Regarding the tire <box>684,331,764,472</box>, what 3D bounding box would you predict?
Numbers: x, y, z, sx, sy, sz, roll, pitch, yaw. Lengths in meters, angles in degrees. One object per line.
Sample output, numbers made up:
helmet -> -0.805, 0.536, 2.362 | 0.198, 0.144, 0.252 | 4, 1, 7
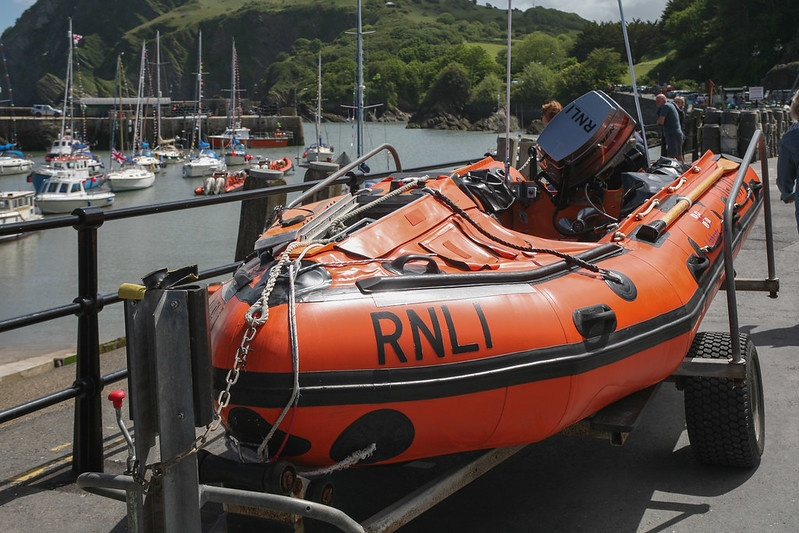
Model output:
tire -> 2.346, 0.970, 4.732 | 0.399, 0.963, 0.965 | -6, 14, 32

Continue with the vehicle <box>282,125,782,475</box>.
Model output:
vehicle -> 0.874, 0.144, 4.344 | 2.415, 1.496, 3.390 | 1, 17, 41

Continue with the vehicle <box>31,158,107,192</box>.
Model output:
vehicle -> -25.577, -6.896, 51.490 | 3.019, 1.859, 5.370 | -8, -1, -16

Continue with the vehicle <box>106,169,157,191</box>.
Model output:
vehicle -> -22.361, -7.062, 55.618 | 1.762, 1.370, 3.459 | 5, 8, 20
